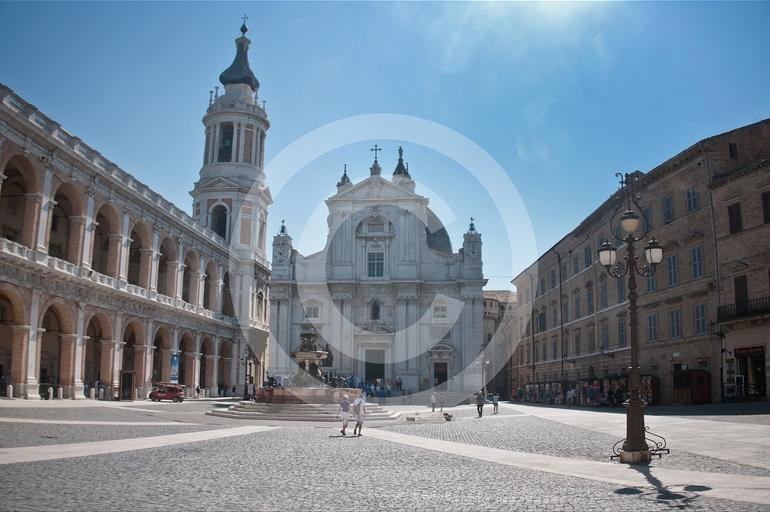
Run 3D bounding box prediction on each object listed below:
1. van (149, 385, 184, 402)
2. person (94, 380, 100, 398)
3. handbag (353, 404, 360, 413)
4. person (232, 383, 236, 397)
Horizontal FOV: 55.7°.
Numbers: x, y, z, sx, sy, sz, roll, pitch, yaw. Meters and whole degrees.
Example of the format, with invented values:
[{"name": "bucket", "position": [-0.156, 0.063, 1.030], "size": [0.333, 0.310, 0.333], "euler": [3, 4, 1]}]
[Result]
[{"name": "van", "position": [-16.643, 10.621, 56.498], "size": [2.114, 1.032, 1.379], "euler": [5, -17, 2]}, {"name": "person", "position": [-20.537, 9.563, 52.696], "size": [0.381, 0.965, 1.105], "euler": [7, -18, -20]}, {"name": "handbag", "position": [-1.222, 7.074, 33.624], "size": [0.403, 0.439, 0.135], "euler": [-15, -22, 43]}, {"name": "person", "position": [-15.074, 13.489, 74.057], "size": [0.340, 1.186, 1.181], "euler": [5, -17, -13]}]
